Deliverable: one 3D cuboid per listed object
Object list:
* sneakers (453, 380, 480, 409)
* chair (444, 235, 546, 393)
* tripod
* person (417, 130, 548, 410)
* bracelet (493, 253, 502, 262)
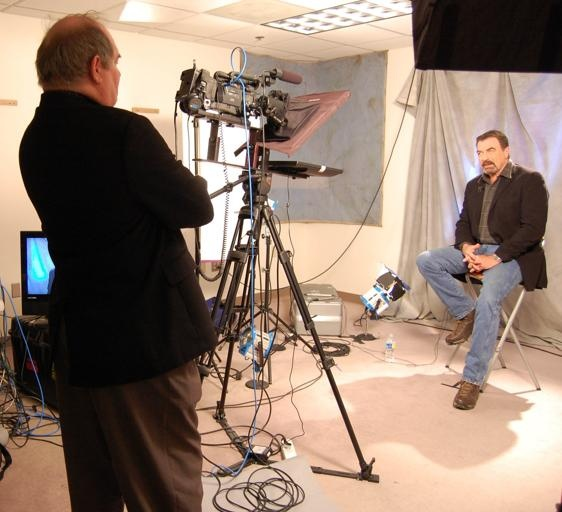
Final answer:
[{"bbox_3d":[1.057,0.774,2.876,0.106,0.118,0.215,6,11,32],"label":"sneakers"},{"bbox_3d":[1.438,0.450,3.378,0.503,0.784,0.491,3,5,5],"label":"chair"},{"bbox_3d":[0.004,0.246,2.322,0.740,1.323,1.263,-1,9,-9],"label":"tripod"},{"bbox_3d":[1.380,-0.019,3.271,0.725,1.563,1.015,0,9,0],"label":"person"},{"bbox_3d":[1.360,0.008,3.183,0.013,0.043,0.031,-35,0,4],"label":"bracelet"}]
